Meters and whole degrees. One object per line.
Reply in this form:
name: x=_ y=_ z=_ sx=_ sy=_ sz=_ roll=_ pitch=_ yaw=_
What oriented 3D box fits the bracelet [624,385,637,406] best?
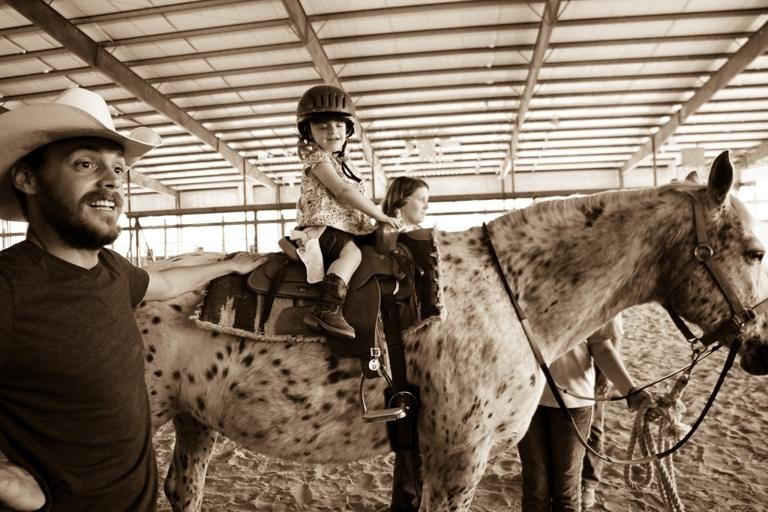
bracelet: x=2.035 y=1.148 z=5.560 sx=0.048 sy=0.165 sz=0.116 roll=12 pitch=17 yaw=25

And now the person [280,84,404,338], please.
person: x=-0.325 y=-0.412 z=5.546 sx=0.739 sy=1.947 sz=1.030 roll=1 pitch=4 yaw=11

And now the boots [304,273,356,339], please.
boots: x=-0.374 y=0.385 z=5.132 sx=0.400 sy=0.435 sz=0.215 roll=19 pitch=-5 yaw=13

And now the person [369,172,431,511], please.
person: x=0.215 y=0.727 z=6.049 sx=0.518 sy=2.828 sz=0.673 roll=2 pitch=-6 yaw=32
